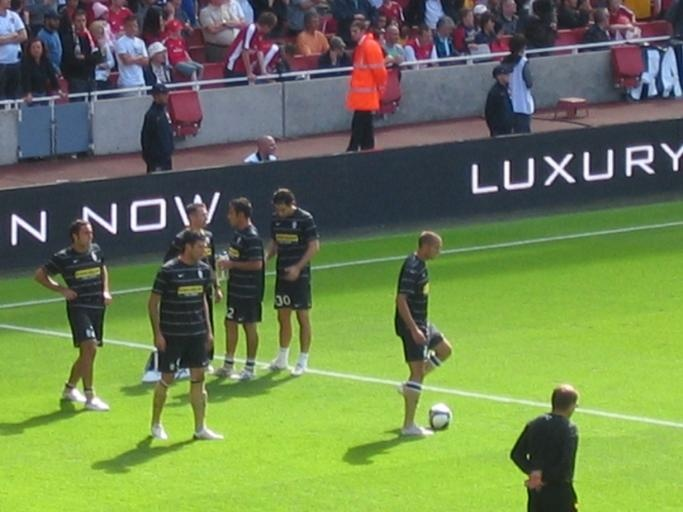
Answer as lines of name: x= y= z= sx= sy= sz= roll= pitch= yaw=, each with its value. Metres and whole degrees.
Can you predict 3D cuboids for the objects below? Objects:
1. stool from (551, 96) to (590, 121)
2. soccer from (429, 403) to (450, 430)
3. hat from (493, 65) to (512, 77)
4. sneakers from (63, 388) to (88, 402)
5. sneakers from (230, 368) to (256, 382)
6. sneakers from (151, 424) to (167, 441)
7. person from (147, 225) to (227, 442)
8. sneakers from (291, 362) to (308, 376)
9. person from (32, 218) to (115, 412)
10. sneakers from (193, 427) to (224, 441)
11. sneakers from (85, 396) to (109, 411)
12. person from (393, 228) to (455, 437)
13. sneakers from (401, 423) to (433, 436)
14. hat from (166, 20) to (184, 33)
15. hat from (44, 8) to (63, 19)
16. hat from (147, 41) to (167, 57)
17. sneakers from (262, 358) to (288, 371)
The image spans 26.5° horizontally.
stool: x=5.225 y=-3.374 z=32.854 sx=0.616 sy=0.429 sz=0.626 roll=-11 pitch=17 yaw=-34
soccer: x=1.438 y=2.288 z=20.922 sx=0.273 sy=0.351 sz=0.352 roll=-1 pitch=42 yaw=6
hat: x=3.212 y=-3.702 z=29.021 sx=0.329 sy=0.190 sz=0.245 roll=-20 pitch=19 yaw=2
sneakers: x=-3.939 y=2.071 z=21.584 sx=0.353 sy=0.163 sz=0.191 roll=3 pitch=7 yaw=-1
sneakers: x=-1.499 y=1.814 z=22.425 sx=0.434 sy=0.292 sz=0.159 roll=4 pitch=2 yaw=10
sneakers: x=-2.563 y=2.493 z=20.588 sx=0.130 sy=0.157 sz=0.344 roll=-10 pitch=13 yaw=-40
person: x=-2.174 y=1.119 z=20.543 sx=1.050 sy=3.058 sz=0.711 roll=1 pitch=3 yaw=-19
sneakers: x=-0.651 y=1.753 z=22.580 sx=0.174 sy=0.176 sz=0.396 roll=-1 pitch=2 yaw=9
person: x=-3.831 y=0.890 z=21.330 sx=0.914 sy=2.797 sz=0.630 roll=-8 pitch=11 yaw=-14
sneakers: x=-1.897 y=2.526 z=20.717 sx=0.446 sy=0.202 sz=0.173 roll=0 pitch=4 yaw=0
sneakers: x=-3.613 y=2.182 z=21.478 sx=0.317 sy=0.158 sz=0.182 roll=3 pitch=11 yaw=11
person: x=1.129 y=1.089 z=20.707 sx=0.745 sy=2.891 sz=0.926 roll=-4 pitch=11 yaw=8
sneakers: x=1.066 y=2.463 z=20.813 sx=0.462 sy=0.198 sz=0.172 roll=-4 pitch=7 yaw=-8
hat: x=-3.481 y=-4.788 z=30.108 sx=0.342 sy=0.264 sz=0.188 roll=-9 pitch=12 yaw=-17
hat: x=-5.742 y=-4.830 z=28.889 sx=0.317 sy=0.228 sz=0.454 roll=-8 pitch=12 yaw=-10
hat: x=-3.782 y=-4.258 z=29.738 sx=0.362 sy=0.298 sz=0.429 roll=-7 pitch=12 yaw=-6
sneakers: x=-1.026 y=1.688 z=22.840 sx=0.409 sy=0.285 sz=0.147 roll=3 pitch=10 yaw=9
